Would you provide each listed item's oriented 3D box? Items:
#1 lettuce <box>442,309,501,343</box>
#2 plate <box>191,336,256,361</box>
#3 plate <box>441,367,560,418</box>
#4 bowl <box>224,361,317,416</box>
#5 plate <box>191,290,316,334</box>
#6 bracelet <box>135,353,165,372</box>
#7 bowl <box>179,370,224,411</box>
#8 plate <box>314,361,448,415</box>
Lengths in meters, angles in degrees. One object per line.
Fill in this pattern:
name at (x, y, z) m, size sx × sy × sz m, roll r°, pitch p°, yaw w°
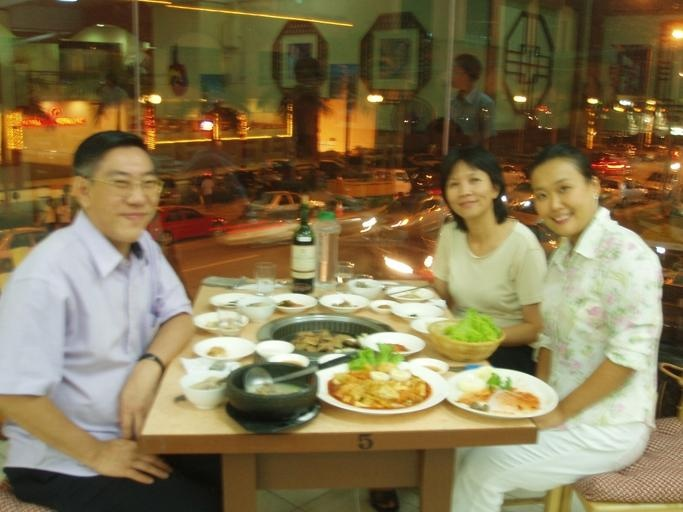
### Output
lettuce at (0.452, 0.254, 1.980) m, size 0.146 × 0.045 × 0.146 m, roll 14°, pitch 21°, yaw 43°
plate at (-0.417, 0.329, 1.975) m, size 0.120 × 0.017 × 0.111 m, roll 3°, pitch 16°, yaw 7°
plate at (0.489, 0.440, 1.745) m, size 0.373 × 0.051 × 0.334 m, roll 0°, pitch 13°, yaw 3°
bowl at (-0.203, 0.396, 1.637) m, size 0.262 × 0.080 × 0.254 m, roll 4°, pitch 14°, yaw -1°
plate at (-0.381, 0.230, 2.291) m, size 0.226 × 0.038 × 0.298 m, roll 10°, pitch 12°, yaw 34°
bracelet at (-0.667, 0.367, 1.946) m, size 0.081 × 0.065 × 0.077 m, roll 20°, pitch -12°, yaw -6°
bowl at (-0.405, 0.426, 1.674) m, size 0.137 × 0.057 × 0.124 m, roll -3°, pitch -4°, yaw -3°
plate at (0.139, 0.421, 1.709) m, size 0.218 × 0.018 × 0.201 m, roll 4°, pitch 12°, yaw 20°
